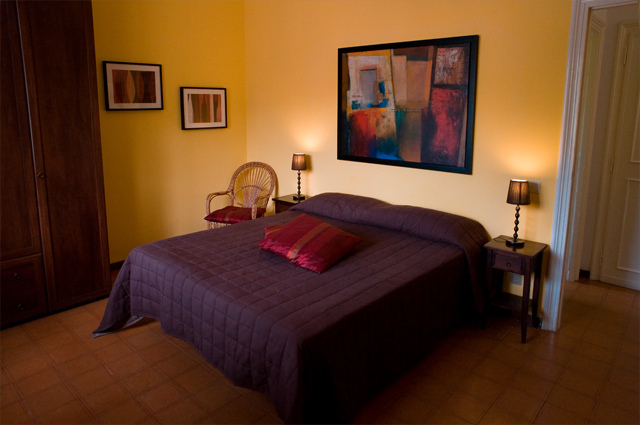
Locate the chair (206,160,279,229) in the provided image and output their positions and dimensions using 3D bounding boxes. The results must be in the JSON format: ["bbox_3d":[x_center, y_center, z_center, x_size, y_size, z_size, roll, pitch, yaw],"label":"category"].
[{"bbox_3d":[-1.032,-0.068,5.945,0.736,1.174,0.845,8,10,27],"label":"chair"}]

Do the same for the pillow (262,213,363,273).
[{"bbox_3d":[-0.110,0.288,4.241,0.815,0.201,0.852,-25,36,-39],"label":"pillow"}]

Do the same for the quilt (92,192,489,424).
[{"bbox_3d":[-0.151,0.658,5.424,3.917,1.477,4.538,9,13,37],"label":"quilt"}]

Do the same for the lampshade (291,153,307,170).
[{"bbox_3d":[-0.262,-0.653,5.730,0.188,0.217,0.248,0,16,-2],"label":"lampshade"}]

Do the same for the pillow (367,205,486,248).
[{"bbox_3d":[1.067,0.099,4.596,1.003,0.218,0.463,13,30,34],"label":"pillow"}]

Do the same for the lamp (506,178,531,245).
[{"bbox_3d":[1.929,-0.001,4.246,0.217,0.605,0.212,1,6,-6],"label":"lamp"}]

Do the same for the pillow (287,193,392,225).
[{"bbox_3d":[0.307,-0.115,5.174,0.736,0.307,1.406,-9,16,-44],"label":"pillow"}]

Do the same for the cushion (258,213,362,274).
[{"bbox_3d":[-0.115,0.286,4.297,0.843,0.239,0.916,25,28,31],"label":"cushion"}]

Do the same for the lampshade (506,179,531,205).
[{"bbox_3d":[1.921,-0.173,4.209,0.194,0.216,0.195,4,-7,-14],"label":"lampshade"}]
